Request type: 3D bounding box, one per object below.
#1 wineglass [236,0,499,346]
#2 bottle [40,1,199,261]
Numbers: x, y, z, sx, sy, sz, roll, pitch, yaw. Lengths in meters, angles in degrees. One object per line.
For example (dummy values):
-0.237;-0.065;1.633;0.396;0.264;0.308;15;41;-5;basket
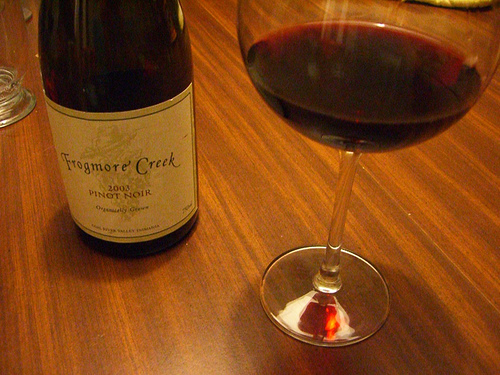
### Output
0.104;-0.007;0.452;0.234;0.322;0.203;0;45;-2;wineglass
-0.149;-0.069;0.523;0.169;0.252;0.184;1;46;-1;bottle
